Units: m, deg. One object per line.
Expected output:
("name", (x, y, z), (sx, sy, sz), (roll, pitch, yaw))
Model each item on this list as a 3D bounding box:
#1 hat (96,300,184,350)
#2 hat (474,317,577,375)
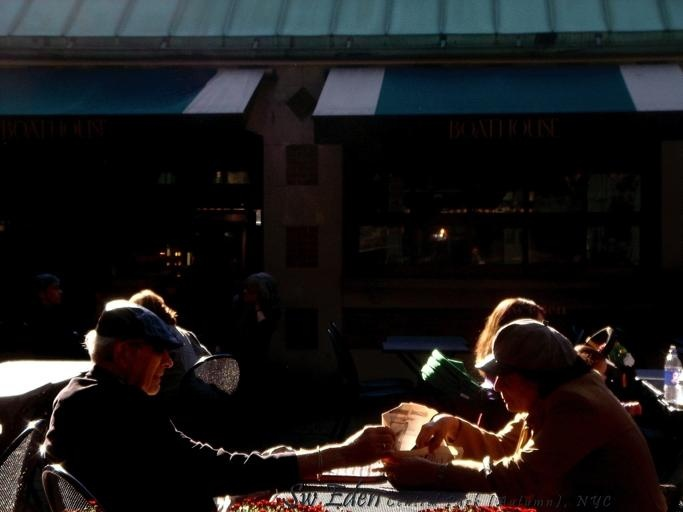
("hat", (-1.637, 0.548, 6.997), (0.558, 0.296, 0.385), (2, 2, -15))
("hat", (1.537, 0.714, 6.913), (0.582, 0.293, 0.439), (0, 2, 5))
